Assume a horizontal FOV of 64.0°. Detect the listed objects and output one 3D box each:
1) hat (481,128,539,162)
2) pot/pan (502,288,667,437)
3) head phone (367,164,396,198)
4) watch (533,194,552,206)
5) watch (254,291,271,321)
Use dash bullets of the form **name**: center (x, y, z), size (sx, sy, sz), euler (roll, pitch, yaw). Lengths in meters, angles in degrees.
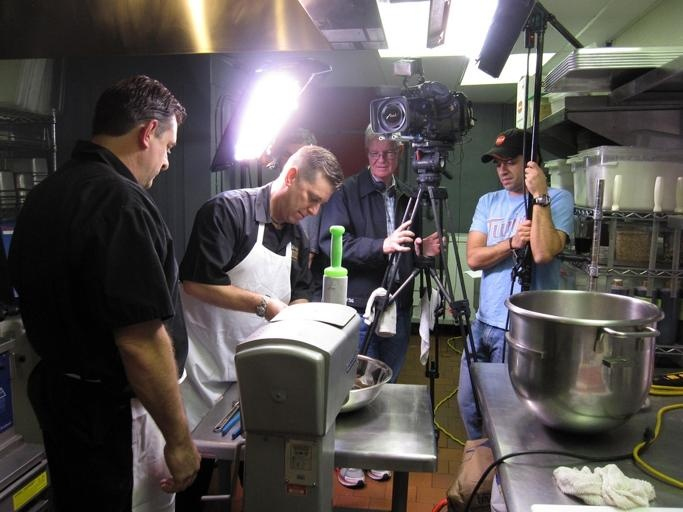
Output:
- **hat**: center (0.883, -0.557, 2.792), size (0.304, 0.188, 0.206), euler (2, 6, -4)
- **pot/pan**: center (0.743, 0.326, 1.700), size (0.426, 0.370, 0.396), euler (3, 8, 31)
- **head phone**: center (0.235, -0.407, 2.988), size (0.126, 0.104, 0.172), euler (0, 2, 1)
- **watch**: center (0.966, -0.258, 2.635), size (0.075, 0.047, 0.078), euler (3, -7, -5)
- **watch**: center (-0.306, 0.207, 2.128), size (0.077, 0.083, 0.052), euler (7, 6, -12)
